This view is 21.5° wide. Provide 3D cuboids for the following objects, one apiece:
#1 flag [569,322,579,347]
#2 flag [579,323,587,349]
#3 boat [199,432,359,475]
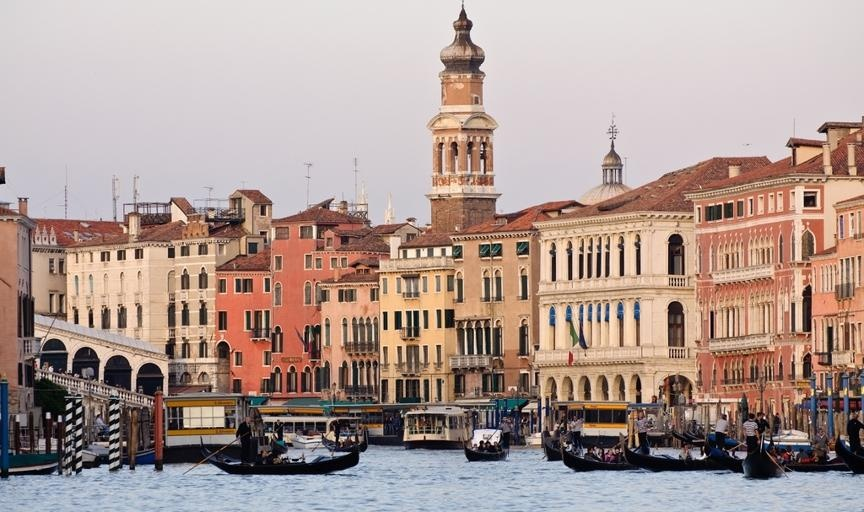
[{"bbox_3d":[11.307,6.091,176.303,0.225,2.039,1.422,3,-10,-26],"label":"flag"},{"bbox_3d":[11.929,6.326,175.603,0.505,1.928,0.370,-2,-10,3],"label":"flag"},{"bbox_3d":[-8.124,11.528,129.127,8.272,1.600,3.693,4,-11,-31],"label":"boat"}]
